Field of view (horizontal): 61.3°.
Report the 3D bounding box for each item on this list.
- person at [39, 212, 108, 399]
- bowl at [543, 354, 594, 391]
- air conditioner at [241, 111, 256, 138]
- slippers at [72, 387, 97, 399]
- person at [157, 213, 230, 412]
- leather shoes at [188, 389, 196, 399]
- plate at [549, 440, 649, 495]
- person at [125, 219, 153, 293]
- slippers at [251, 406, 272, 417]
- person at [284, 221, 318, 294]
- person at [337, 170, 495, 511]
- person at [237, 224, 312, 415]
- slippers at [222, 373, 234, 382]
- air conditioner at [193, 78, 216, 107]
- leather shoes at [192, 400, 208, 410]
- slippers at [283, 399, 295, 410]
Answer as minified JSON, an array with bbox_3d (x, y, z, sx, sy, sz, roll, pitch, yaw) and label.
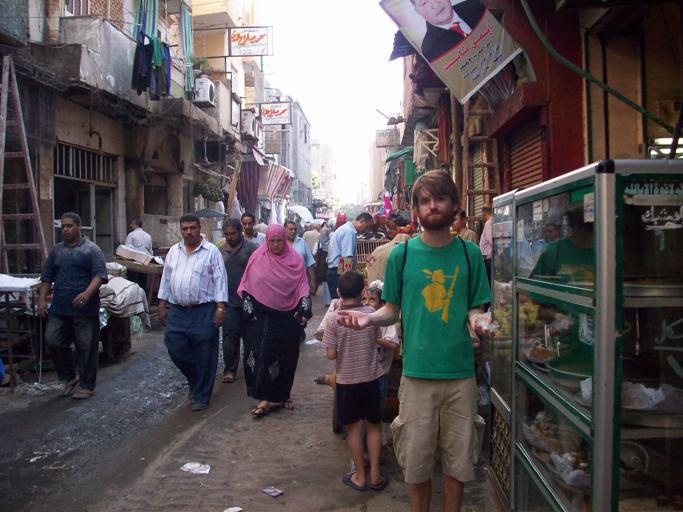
[{"bbox_3d":[-3.084,0.548,6.582,0.724,2.061,0.470,1,4,13],"label":"person"},{"bbox_3d":[1.269,0.626,3.190,0.184,0.048,0.188,-7,11,1],"label":"bowl"},{"bbox_3d":[-3.595,-5.034,22.202,0.698,0.890,1.304,0,0,1],"label":"air conditioner"},{"bbox_3d":[-2.917,1.537,6.511,0.092,0.100,0.245,-5,-20,12],"label":"slippers"},{"bbox_3d":[-1.657,0.560,6.394,0.742,2.028,0.519,3,5,33],"label":"person"},{"bbox_3d":[-1.739,1.581,6.620,0.101,0.110,0.138,0,-10,1],"label":"leather shoes"},{"bbox_3d":[1.411,1.134,3.126,0.384,0.302,0.132,21,-35,-29],"label":"plate"},{"bbox_3d":[-4.211,0.138,11.854,0.540,1.727,0.476,4,-3,-44],"label":"person"},{"bbox_3d":[-0.813,1.563,5.840,0.195,0.088,0.114,-3,5,-32],"label":"slippers"},{"bbox_3d":[-0.753,0.266,9.352,0.651,1.538,0.476,-5,16,-7],"label":"person"},{"bbox_3d":[0.561,0.527,3.572,0.680,2.098,0.349,1,5,17],"label":"person"},{"bbox_3d":[-0.700,0.628,6.089,0.738,1.918,0.659,-1,4,-12],"label":"person"},{"bbox_3d":[-1.415,1.501,7.147,0.065,0.078,0.177,1,-1,-5],"label":"slippers"},{"bbox_3d":[-3.978,-4.742,16.856,0.584,0.762,1.030,1,3,5],"label":"air conditioner"},{"bbox_3d":[-1.509,1.576,6.097,0.070,0.081,0.174,1,-15,1],"label":"leather shoes"},{"bbox_3d":[-0.569,1.561,6.106,0.084,0.063,0.226,0,-5,-7],"label":"slippers"}]
